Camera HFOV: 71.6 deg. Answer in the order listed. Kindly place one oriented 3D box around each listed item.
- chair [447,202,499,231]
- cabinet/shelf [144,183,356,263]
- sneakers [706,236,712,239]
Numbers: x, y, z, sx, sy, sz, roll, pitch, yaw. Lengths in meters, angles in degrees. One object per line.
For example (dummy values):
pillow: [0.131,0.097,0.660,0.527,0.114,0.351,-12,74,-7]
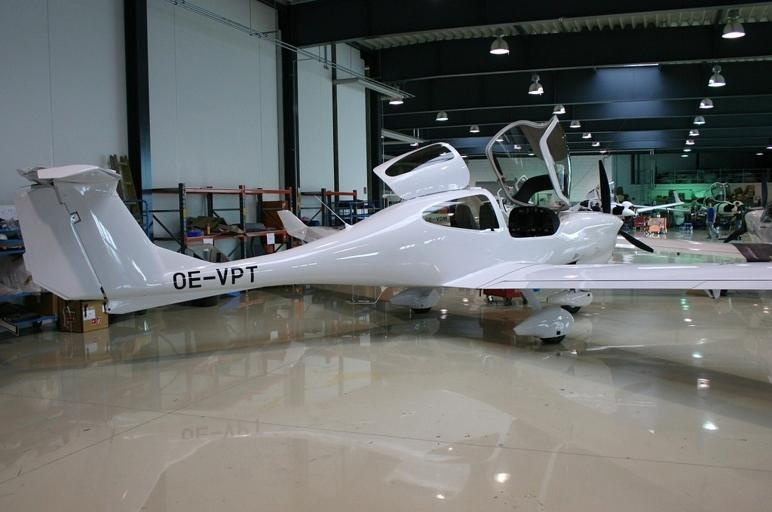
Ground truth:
chair: [1.154,-0.588,7.557,0.618,0.577,0.384,-13,15,-24]
cabinet/shelf: [-2.670,-0.626,9.867,2.285,1.055,0.413,-1,-19,-44]
sneakers: [12.653,-0.730,20.906,0.213,0.094,0.279,0,-3,14]
